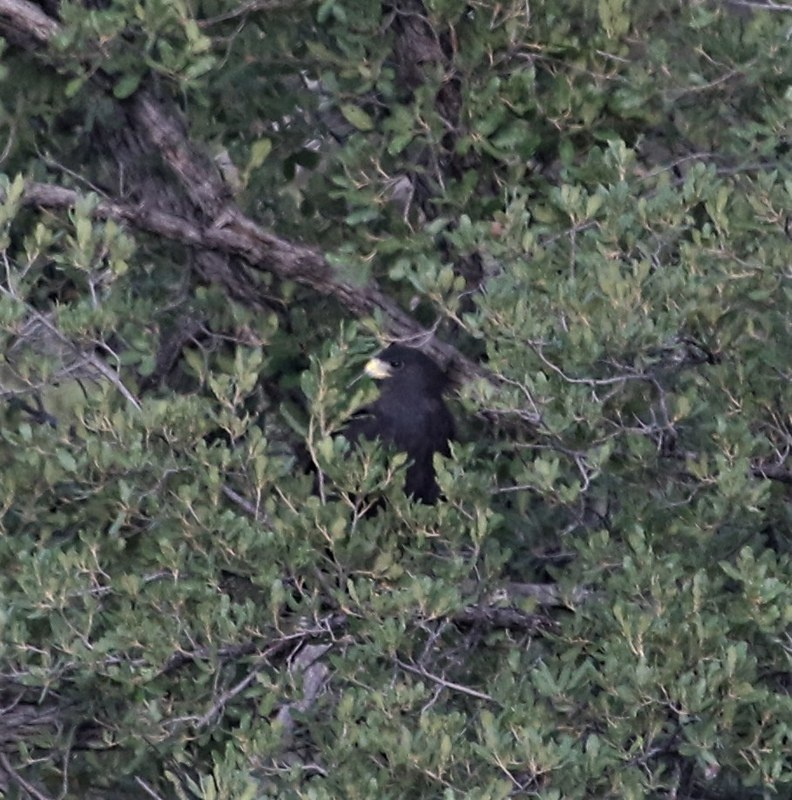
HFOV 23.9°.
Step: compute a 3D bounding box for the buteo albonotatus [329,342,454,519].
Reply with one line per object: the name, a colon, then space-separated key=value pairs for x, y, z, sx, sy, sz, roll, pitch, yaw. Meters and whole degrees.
buteo albonotatus: x=0.007 y=0.030 z=4.910 sx=0.296 sy=0.336 sz=0.569 roll=11 pitch=94 yaw=3
